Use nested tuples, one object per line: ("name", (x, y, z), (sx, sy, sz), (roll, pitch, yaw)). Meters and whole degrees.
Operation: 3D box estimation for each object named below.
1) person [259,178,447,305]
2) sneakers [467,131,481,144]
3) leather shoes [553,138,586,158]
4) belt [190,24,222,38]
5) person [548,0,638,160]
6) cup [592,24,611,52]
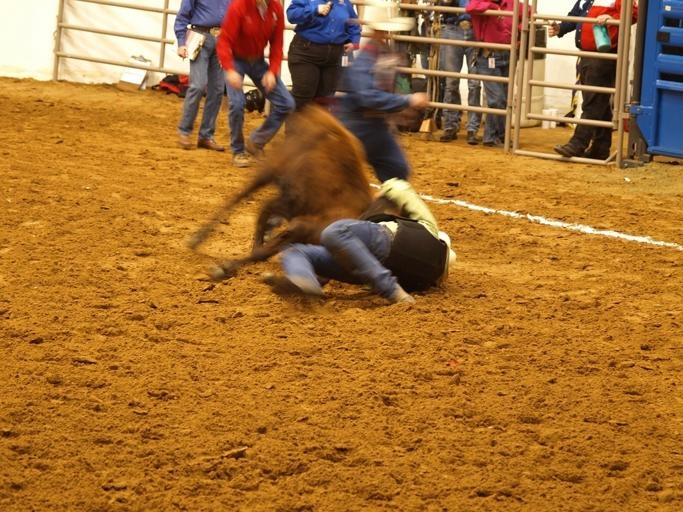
("person", (0.206, -0.059, 3.999), (1.365, 0.531, 0.525), (6, -17, -25))
("sneakers", (1.902, -1.693, 9.550), (0.152, 0.160, 0.303), (1, -4, -3))
("leather shoes", (2.890, -1.351, 8.302), (0.621, 0.190, 0.207), (2, 16, -35))
("belt", (-1.554, -2.601, 7.572), (0.319, 0.072, 0.262), (10, 12, 25))
("person", (3.173, -2.184, 8.166), (0.717, 1.964, 0.990), (20, 13, 37))
("cup", (3.139, -2.622, 7.888), (0.276, 0.280, 0.173), (8, 10, -3))
